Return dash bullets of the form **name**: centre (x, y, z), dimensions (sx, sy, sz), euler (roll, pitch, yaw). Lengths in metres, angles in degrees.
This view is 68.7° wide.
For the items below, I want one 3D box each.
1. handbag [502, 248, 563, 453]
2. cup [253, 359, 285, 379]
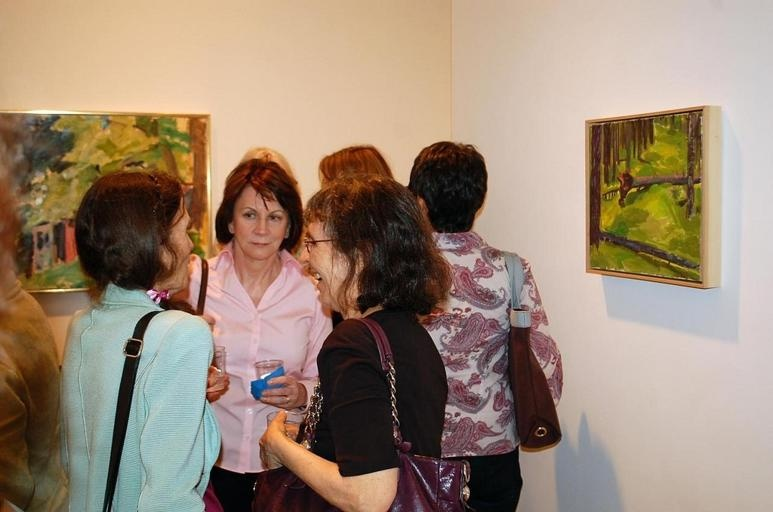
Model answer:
- **handbag**: centre (0.633, 0.439, 2.476), dimensions (0.242, 0.915, 0.157), euler (-2, 4, -17)
- **cup**: centre (-0.503, 0.473, 2.401), dimensions (0.086, 0.102, 0.092), euler (0, -5, 0)
